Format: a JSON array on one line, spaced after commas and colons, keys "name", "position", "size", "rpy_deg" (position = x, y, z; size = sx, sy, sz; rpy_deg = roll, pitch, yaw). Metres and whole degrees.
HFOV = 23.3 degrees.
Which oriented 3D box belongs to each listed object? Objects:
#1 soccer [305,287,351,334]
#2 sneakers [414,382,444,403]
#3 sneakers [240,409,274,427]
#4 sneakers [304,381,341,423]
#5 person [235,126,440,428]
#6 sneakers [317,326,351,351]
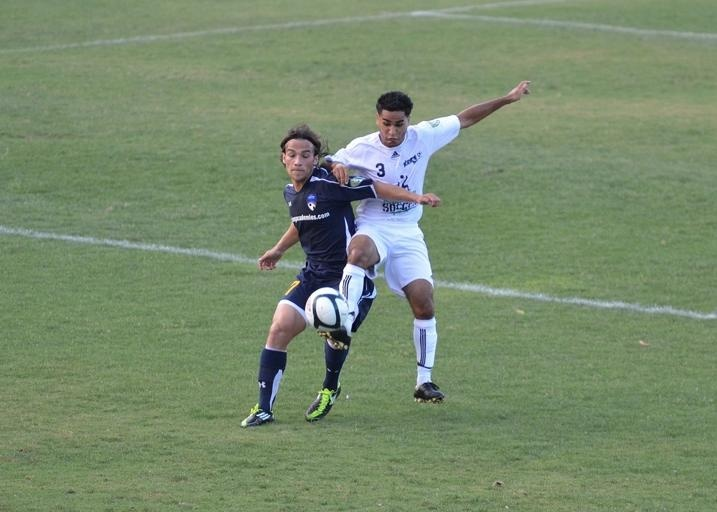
[{"name": "soccer", "position": [-0.288, 0.518, 16.470], "size": [0.446, 0.404, 0.263], "rpy_deg": [3, 12, -2]}, {"name": "sneakers", "position": [0.659, 1.339, 16.850], "size": [0.132, 0.148, 0.337], "rpy_deg": [-2, -4, -36]}, {"name": "sneakers", "position": [-0.959, 1.550, 16.588], "size": [0.372, 0.158, 0.132], "rpy_deg": [-4, 2, -7]}, {"name": "sneakers", "position": [-0.347, 1.422, 16.765], "size": [0.171, 0.177, 0.460], "rpy_deg": [34, 58, 13]}, {"name": "person", "position": [-0.469, 0.161, 16.875], "size": [1.546, 2.784, 1.078], "rpy_deg": [-6, 16, -40]}, {"name": "sneakers", "position": [-0.215, 0.795, 16.504], "size": [0.281, 0.126, 0.204], "rpy_deg": [0, 10, -24]}]
